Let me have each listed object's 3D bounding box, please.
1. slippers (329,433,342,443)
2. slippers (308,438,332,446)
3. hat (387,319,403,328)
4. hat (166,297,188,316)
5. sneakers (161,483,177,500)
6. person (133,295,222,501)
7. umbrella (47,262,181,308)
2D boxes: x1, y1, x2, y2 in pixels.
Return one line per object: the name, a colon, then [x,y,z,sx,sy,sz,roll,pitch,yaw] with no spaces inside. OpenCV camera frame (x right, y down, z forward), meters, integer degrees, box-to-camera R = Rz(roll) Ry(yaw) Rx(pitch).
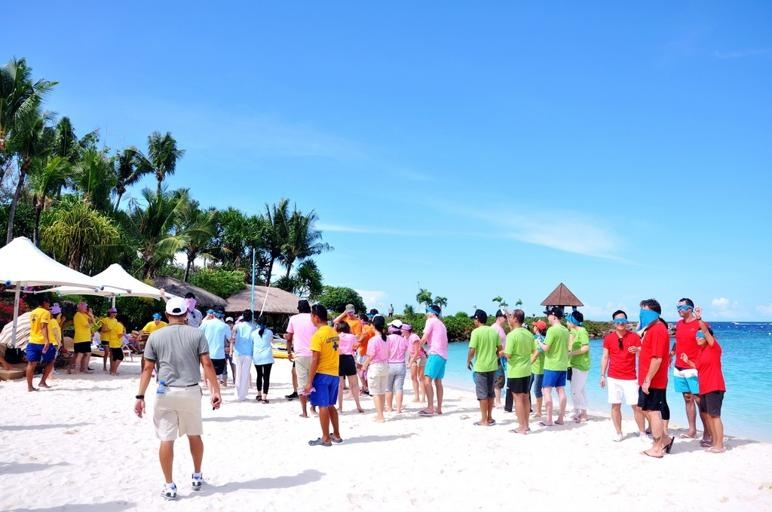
slippers: [-1.051,3.715,11.302,0.129,0.131,0.319,1,3,-42]
slippers: [-1.321,3.762,11.092,0.324,0.112,0.202,3,-13,16]
hat: [0.187,1.650,13.577,0.259,0.147,0.201,15,3,29]
hat: [-3.484,0.861,9.121,0.312,0.188,0.481,2,8,-15]
sneakers: [-3.510,3.787,8.855,0.132,0.158,0.357,6,-3,-20]
person: [-3.347,2.299,8.915,1.215,3.204,0.846,2,2,16]
umbrella: [-9.274,0.986,18.607,2.529,1.281,2.739,0,-3,12]
